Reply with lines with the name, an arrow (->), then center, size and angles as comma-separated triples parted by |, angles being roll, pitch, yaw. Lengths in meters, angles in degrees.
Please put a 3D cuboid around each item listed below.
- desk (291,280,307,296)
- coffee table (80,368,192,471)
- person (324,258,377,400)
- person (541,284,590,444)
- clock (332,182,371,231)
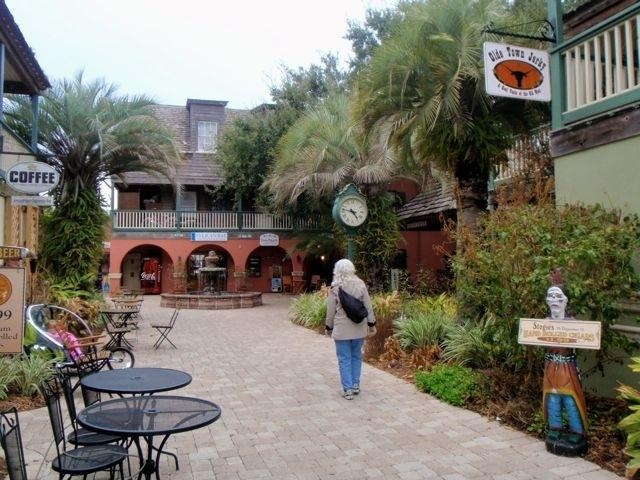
desk -> -1.065, 2.340, 26.231 | 0.677, 0.716, 0.620 | 5, -7, -44
coffee table -> -1.992, 1.767, 5.808 | 0.968, 0.701, 1.027 | 1, -4, 0
person -> 0.463, 1.276, 7.882 | 0.690, 1.982, 0.648 | 2, -5, -23
person -> 2.747, 1.392, 5.953 | 0.451, 1.776, 0.345 | 0, 2, 26
clock -> 0.706, -0.710, 11.450 | 0.698, 0.996, 0.313 | 0, -8, -7
